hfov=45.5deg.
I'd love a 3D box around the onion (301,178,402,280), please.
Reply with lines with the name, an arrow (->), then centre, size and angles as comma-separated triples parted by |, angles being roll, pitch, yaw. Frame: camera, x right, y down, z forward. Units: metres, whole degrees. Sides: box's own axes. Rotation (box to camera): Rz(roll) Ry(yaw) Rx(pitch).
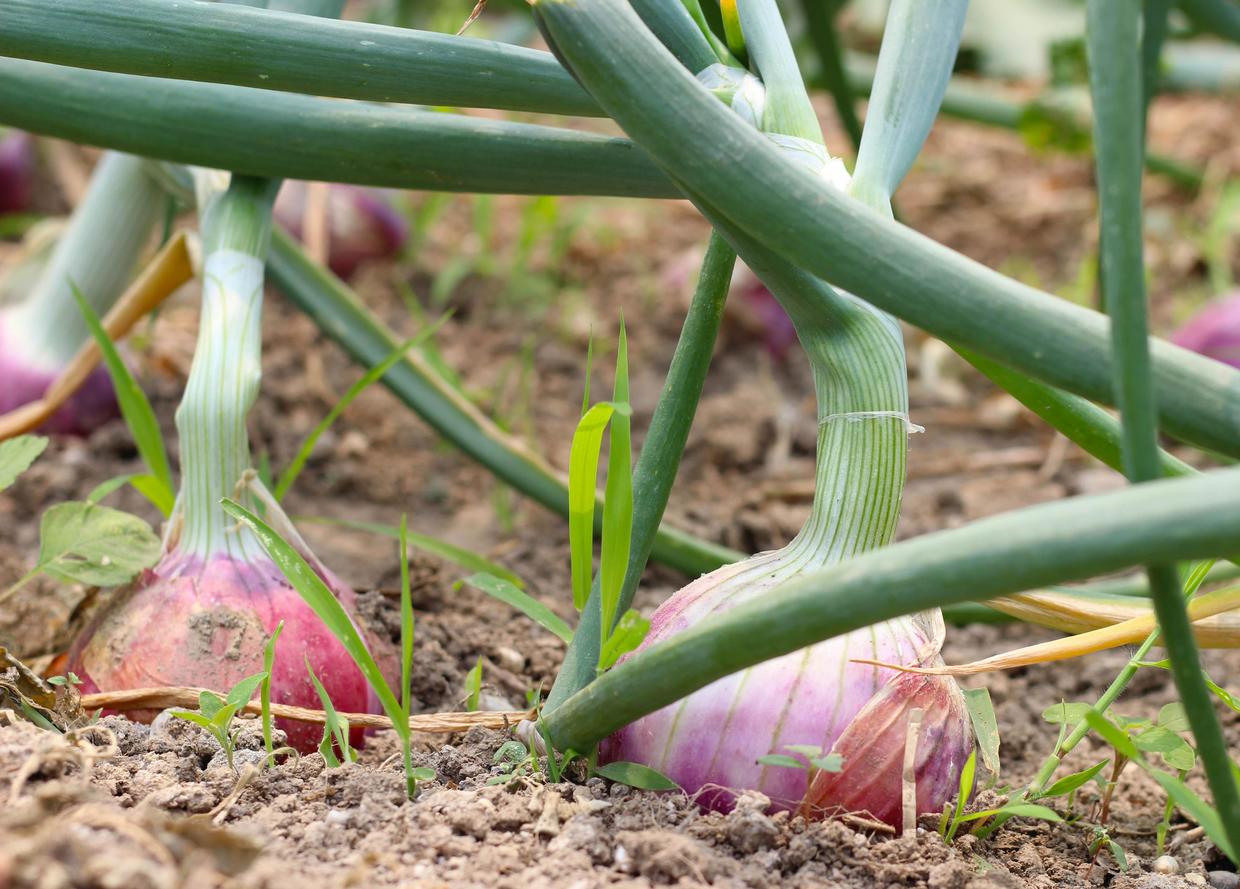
onion -> -0.292, -0.230, 1.557 | 0.060, 0.093, 0.155 | 13, 29, 26

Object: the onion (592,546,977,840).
onion -> 0.127, 0.159, 1.108 | 0.206, 0.168, 0.183 | 3, 2, -45
